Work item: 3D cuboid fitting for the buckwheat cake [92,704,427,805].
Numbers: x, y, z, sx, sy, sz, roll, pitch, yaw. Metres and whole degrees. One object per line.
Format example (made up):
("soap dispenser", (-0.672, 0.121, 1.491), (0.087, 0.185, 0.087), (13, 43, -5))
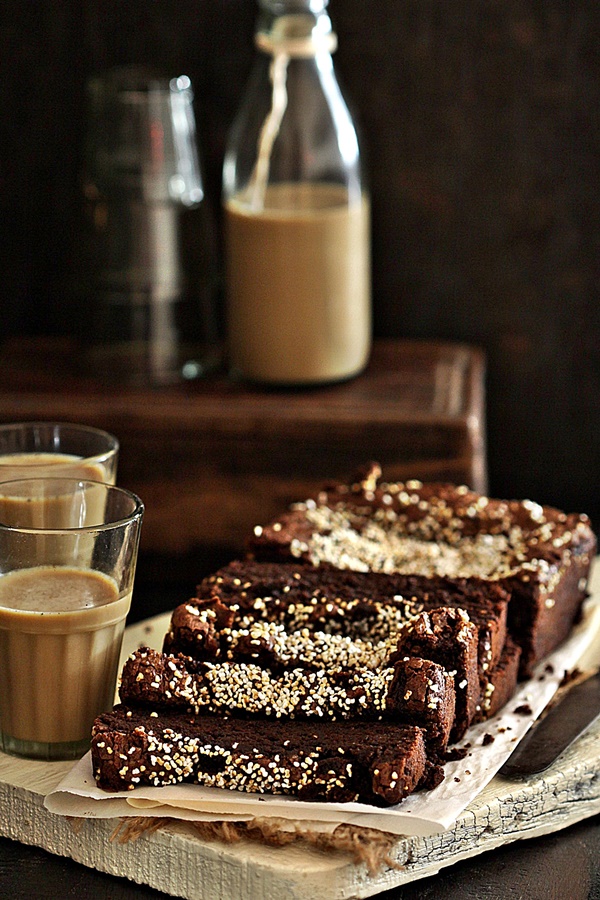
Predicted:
("buckwheat cake", (-0.021, 0.159, 0.488), (0.165, 0.042, 0.093), (2, -2, 12))

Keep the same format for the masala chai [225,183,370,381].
("masala chai", (-0.016, -0.182, 0.985), (0.201, 0.207, 0.187), (-5, 16, -17))
